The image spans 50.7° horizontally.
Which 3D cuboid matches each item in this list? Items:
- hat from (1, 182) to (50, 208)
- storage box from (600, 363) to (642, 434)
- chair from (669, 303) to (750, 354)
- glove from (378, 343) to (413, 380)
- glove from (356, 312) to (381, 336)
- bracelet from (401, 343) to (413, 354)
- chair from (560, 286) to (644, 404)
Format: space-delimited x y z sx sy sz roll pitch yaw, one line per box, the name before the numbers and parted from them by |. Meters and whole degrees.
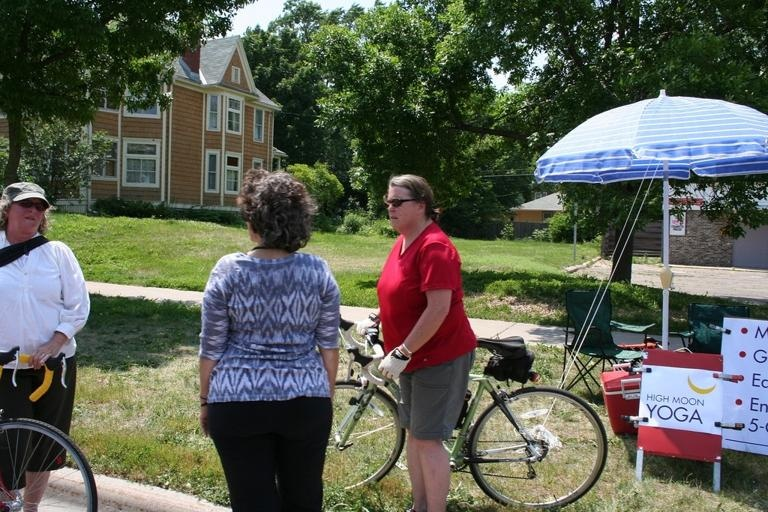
hat | -3.937 -0.685 8.901 0.277 0.149 0.419 5 -3 -42
storage box | 3.132 1.866 10.658 0.681 0.778 1.081 0 -1 8
chair | 4.734 1.050 11.821 0.830 1.103 0.803 -2 -8 27
glove | 0.111 1.125 8.815 0.280 0.392 0.153 43 -10 -20
glove | -0.144 0.826 9.486 0.140 0.300 0.184 57 2 -38
bracelet | 0.246 1.004 8.732 0.110 0.033 0.089 40 1 11
chair | 3.322 1.340 11.879 1.232 1.581 1.098 -2 5 -32
